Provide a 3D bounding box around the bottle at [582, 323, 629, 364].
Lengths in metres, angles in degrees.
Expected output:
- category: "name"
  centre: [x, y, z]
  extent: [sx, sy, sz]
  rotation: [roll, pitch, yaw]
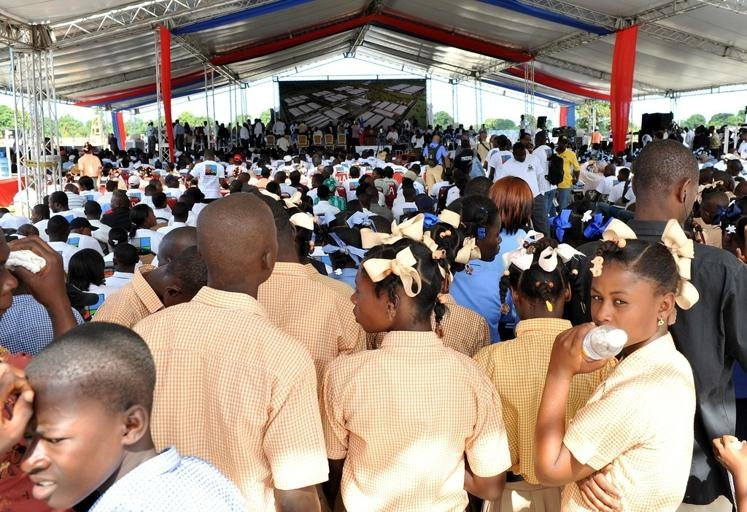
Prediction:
- category: "bottle"
  centre: [0.701, 0.263, 1.826]
  extent: [0.069, 0.071, 0.119]
  rotation: [-39, -3, -1]
